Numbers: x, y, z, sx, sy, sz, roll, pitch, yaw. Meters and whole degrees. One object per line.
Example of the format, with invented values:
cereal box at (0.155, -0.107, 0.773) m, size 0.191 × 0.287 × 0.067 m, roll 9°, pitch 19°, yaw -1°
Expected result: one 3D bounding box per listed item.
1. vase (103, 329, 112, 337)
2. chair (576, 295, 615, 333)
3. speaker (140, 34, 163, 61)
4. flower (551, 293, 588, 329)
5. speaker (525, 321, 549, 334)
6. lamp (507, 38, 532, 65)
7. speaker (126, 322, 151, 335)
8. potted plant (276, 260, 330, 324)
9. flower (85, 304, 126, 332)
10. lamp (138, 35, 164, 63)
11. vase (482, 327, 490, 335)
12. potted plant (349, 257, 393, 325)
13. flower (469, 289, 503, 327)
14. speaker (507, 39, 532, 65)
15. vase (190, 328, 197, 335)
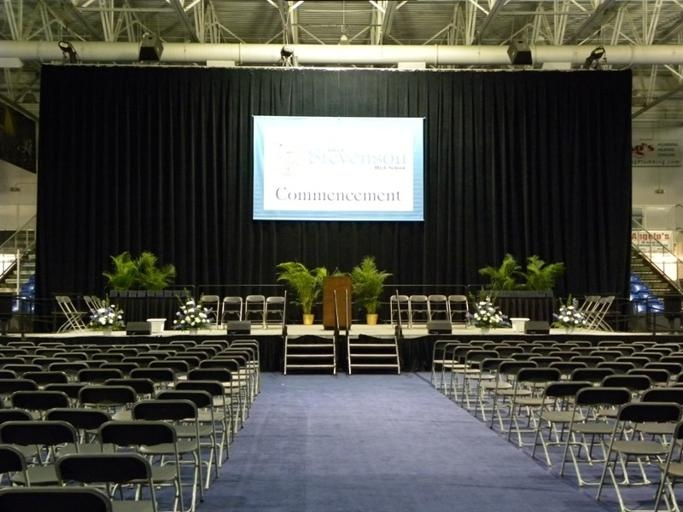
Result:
vase at (-4.903, 1.610, 13.701) m, size 0.149 × 0.123 × 0.156 m, roll -2°, pitch -5°, yaw 14°
chair at (6.202, 1.427, 15.911) m, size 0.638 × 0.890 × 0.895 m, roll -1°, pitch -3°, yaw -4°
speaker at (-4.819, -5.239, 16.429) m, size 0.532 × 0.737 × 0.712 m, roll -2°, pitch 0°, yaw -6°
flower at (5.113, 1.319, 14.586) m, size 0.829 × 0.999 × 0.882 m, roll 3°, pitch -3°, yaw 27°
speaker at (4.129, 1.492, 13.760) m, size 0.580 × 0.230 × 0.269 m, roll -3°, pitch 0°, yaw -4°
lamp at (4.426, -5.154, 16.340) m, size 0.327 × 0.575 × 0.726 m, roll -3°, pitch -40°, yaw 4°
speaker at (-4.153, 1.423, 13.404) m, size 0.360 × 0.248 × 0.271 m, roll 1°, pitch -1°, yaw -1°
potted plant at (-1.112, 1.077, 16.860) m, size 1.386 × 1.459 × 1.340 m, roll -13°, pitch 16°, yaw 20°
flower at (-5.044, 1.342, 13.988) m, size 0.643 × 0.488 × 0.669 m, roll 1°, pitch -6°, yaw -3°
lamp at (-4.793, -5.169, 16.463) m, size 0.600 × 0.657 × 1.162 m, roll -2°, pitch 19°, yaw -3°
vase at (3.075, 1.591, 13.885) m, size 0.132 × 0.117 × 0.144 m, roll 2°, pitch 1°, yaw 41°
potted plant at (0.664, 1.019, 16.397) m, size 0.917 × 1.353 × 0.941 m, roll -14°, pitch -11°, yaw 4°
flower at (3.252, 1.167, 14.282) m, size 0.740 × 0.931 × 0.758 m, roll 7°, pitch -7°, yaw -4°
speaker at (4.379, -5.065, 16.283) m, size 0.322 × 0.569 × 0.692 m, roll -6°, pitch -14°, yaw 32°
vase at (-3.079, 1.563, 13.629) m, size 0.139 × 0.113 × 0.145 m, roll 1°, pitch -5°, yaw 4°
